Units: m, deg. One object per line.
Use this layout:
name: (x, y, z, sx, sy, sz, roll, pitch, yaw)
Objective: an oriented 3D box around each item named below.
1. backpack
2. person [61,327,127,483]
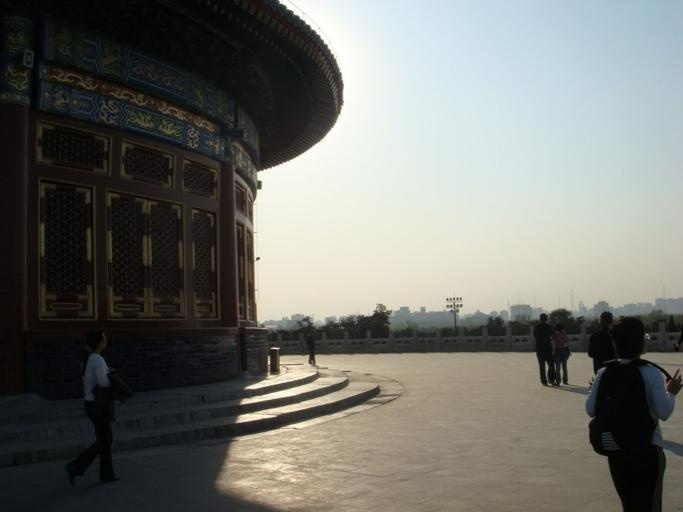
backpack: (2.237, 1.162, 4.360, 0.562, 0.719, 0.206, -2, -6, 4)
person: (-2.871, 1.757, 6.625, 0.659, 1.750, 0.616, 2, -7, -27)
